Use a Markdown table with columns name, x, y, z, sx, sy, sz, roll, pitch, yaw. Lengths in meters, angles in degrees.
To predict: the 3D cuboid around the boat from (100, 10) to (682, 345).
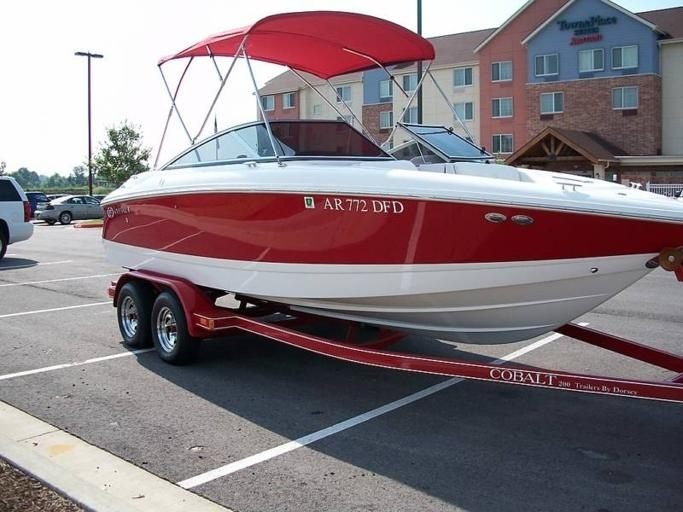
| name | x | y | z | sx | sy | sz | roll | pitch | yaw |
| --- | --- | --- | --- | --- | --- | --- | --- | --- | --- |
| boat | 0.150 | -1.039 | 6.642 | 7.716 | 2.717 | 3.779 | 2 | 11 | 36 |
